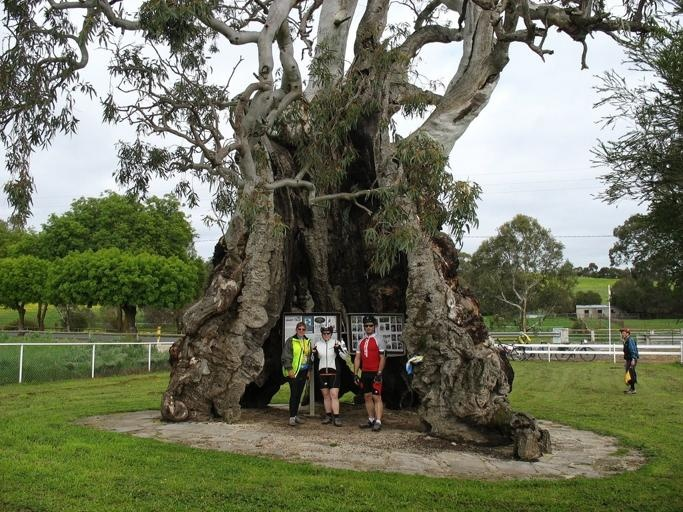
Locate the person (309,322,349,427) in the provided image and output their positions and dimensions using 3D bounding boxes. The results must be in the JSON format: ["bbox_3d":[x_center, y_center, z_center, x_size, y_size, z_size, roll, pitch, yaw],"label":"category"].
[{"bbox_3d":[-0.288,2.886,13.232,0.802,2.346,1.198,-1,-8,-5],"label":"person"}]

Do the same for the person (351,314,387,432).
[{"bbox_3d":[0.663,2.730,12.974,0.681,2.646,1.303,-2,-8,1],"label":"person"}]

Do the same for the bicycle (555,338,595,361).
[{"bbox_3d":[13.804,5.601,32.270,2.362,1.577,1.264,-1,-3,7],"label":"bicycle"}]

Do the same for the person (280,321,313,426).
[{"bbox_3d":[-1.073,2.828,13.234,0.701,2.411,1.177,-2,-8,-3],"label":"person"}]

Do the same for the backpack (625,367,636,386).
[{"bbox_3d":[9.641,3.990,18.179,0.356,0.578,0.251,5,-11,-40],"label":"backpack"}]

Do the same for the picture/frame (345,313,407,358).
[{"bbox_3d":[0.898,2.054,13.980,1.162,0.974,0.158,1,-17,-3],"label":"picture/frame"}]

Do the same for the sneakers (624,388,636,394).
[{"bbox_3d":[9.659,4.507,18.119,0.412,0.197,0.175,6,-10,-7],"label":"sneakers"}]

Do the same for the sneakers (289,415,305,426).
[{"bbox_3d":[-1.085,3.952,13.065,0.161,0.229,0.517,1,-19,3],"label":"sneakers"}]
